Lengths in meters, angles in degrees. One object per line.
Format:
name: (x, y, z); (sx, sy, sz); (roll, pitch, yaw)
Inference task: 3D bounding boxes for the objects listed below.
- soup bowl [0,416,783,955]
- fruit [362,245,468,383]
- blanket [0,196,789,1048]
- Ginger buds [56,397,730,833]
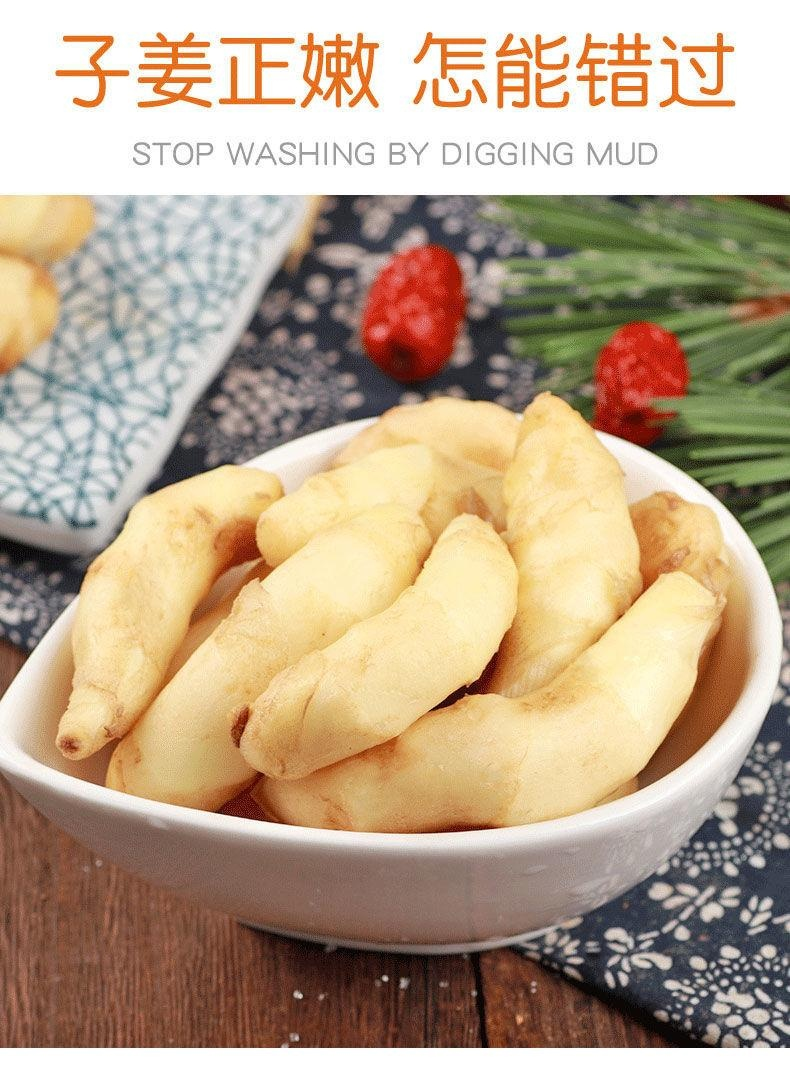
soup bowl: (0.008, 0.048, 0.281); (0.172, 0.055, 0.127); (-4, 36, 4)
fruit: (0.008, -0.105, 0.534); (0.058, 0.044, 0.074); (8, 43, 3)
blanket: (0.004, 0.021, 0.565); (0.372, 0.002, 0.375); (14, 45, 12)
Ginger buds: (0.010, 0.026, 0.288); (0.152, 0.059, 0.119); (-12, 25, -4)
